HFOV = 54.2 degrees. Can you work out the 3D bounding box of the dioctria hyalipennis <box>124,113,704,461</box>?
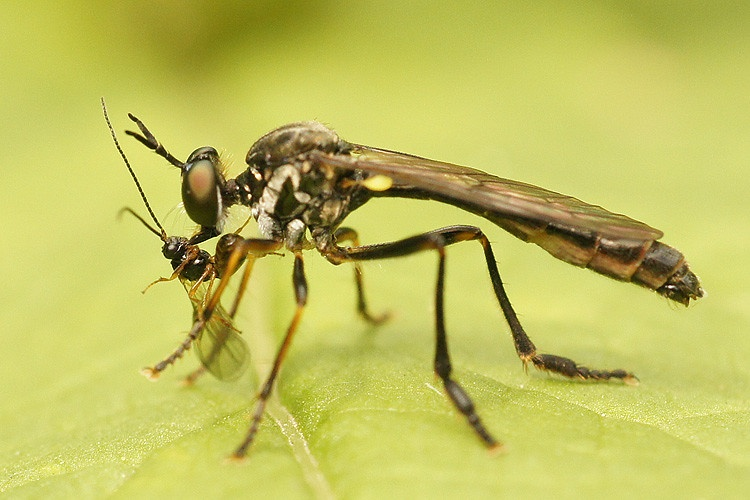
[{"bbox_3d":[0.083,0.096,4.290,2.831,1.521,1.444,12,13,24],"label":"dioctria hyalipennis"}]
